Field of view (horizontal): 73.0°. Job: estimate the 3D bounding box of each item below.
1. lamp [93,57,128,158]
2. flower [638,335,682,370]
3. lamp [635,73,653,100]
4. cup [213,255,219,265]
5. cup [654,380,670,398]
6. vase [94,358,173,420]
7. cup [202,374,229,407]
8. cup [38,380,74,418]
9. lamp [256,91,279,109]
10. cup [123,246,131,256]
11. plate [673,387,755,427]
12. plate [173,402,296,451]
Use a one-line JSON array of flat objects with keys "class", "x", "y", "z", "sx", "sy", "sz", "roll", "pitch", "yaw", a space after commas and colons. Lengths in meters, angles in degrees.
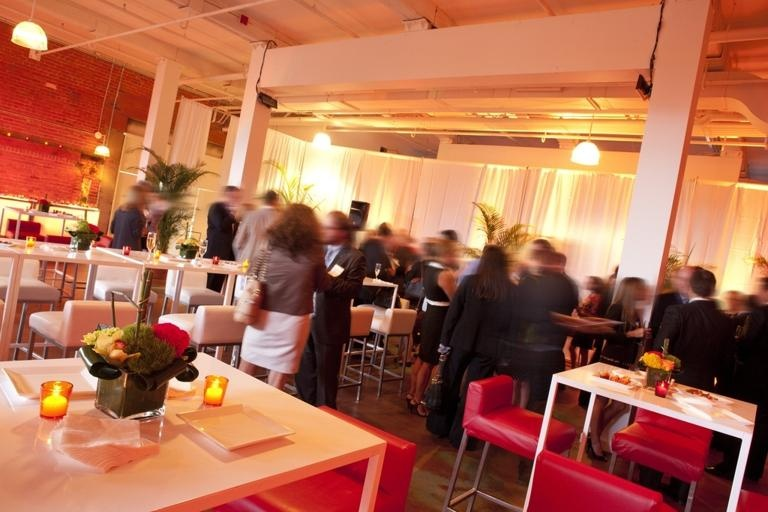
[{"class": "lamp", "x": -6.554, "y": -3.420, "z": 12.200, "sx": 0.446, "sy": 2.277, "sz": 0.790, "roll": 6, "pitch": 3, "yaw": -4}, {"class": "flower", "x": 2.199, "y": 0.788, "z": 4.100, "sx": 0.269, "sy": 0.254, "sz": 0.273, "roll": 14, "pitch": 1, "yaw": 26}, {"class": "lamp", "x": 2.920, "y": -1.910, "z": 5.828, "sx": 0.158, "sy": 0.279, "sz": 0.343, "roll": 8, "pitch": 4, "yaw": 22}, {"class": "cup", "x": -1.941, "y": 0.041, "z": 6.089, "sx": 0.098, "sy": 0.096, "sz": 0.092, "roll": 1, "pitch": -3, "yaw": 0}, {"class": "cup", "x": 2.066, "y": 0.985, "z": 3.855, "sx": 0.113, "sy": 0.110, "sz": 0.108, "roll": 4, "pitch": -8, "yaw": 1}, {"class": "vase", "x": -1.180, "y": 0.642, "z": 2.446, "sx": 0.275, "sy": 0.212, "sz": 0.267, "roll": 6, "pitch": -4, "yaw": 20}, {"class": "cup", "x": -0.825, "y": 0.662, "z": 2.625, "sx": 0.139, "sy": 0.145, "sz": 0.140, "roll": 6, "pitch": 7, "yaw": -1}, {"class": "cup", "x": -1.433, "y": 0.634, "z": 2.279, "sx": 0.133, "sy": 0.142, "sz": 0.133, "roll": 8, "pitch": -4, "yaw": 1}, {"class": "lamp", "x": -2.022, "y": -2.730, "z": 9.175, "sx": 0.114, "sy": 0.255, "sz": 0.498, "roll": 8, "pitch": 4, "yaw": 27}, {"class": "cup", "x": -2.859, "y": -0.051, "z": 5.791, "sx": 0.096, "sy": 0.103, "sz": 0.093, "roll": 2, "pitch": -9, "yaw": 0}, {"class": "plate", "x": 2.361, "y": 1.157, "z": 3.785, "sx": 0.361, "sy": 0.048, "sz": 0.442, "roll": 1, "pitch": 3, "yaw": -4}, {"class": "plate", "x": -0.732, "y": 0.766, "z": 2.438, "sx": 0.414, "sy": 0.039, "sz": 0.404, "roll": 5, "pitch": -2, "yaw": -17}]
